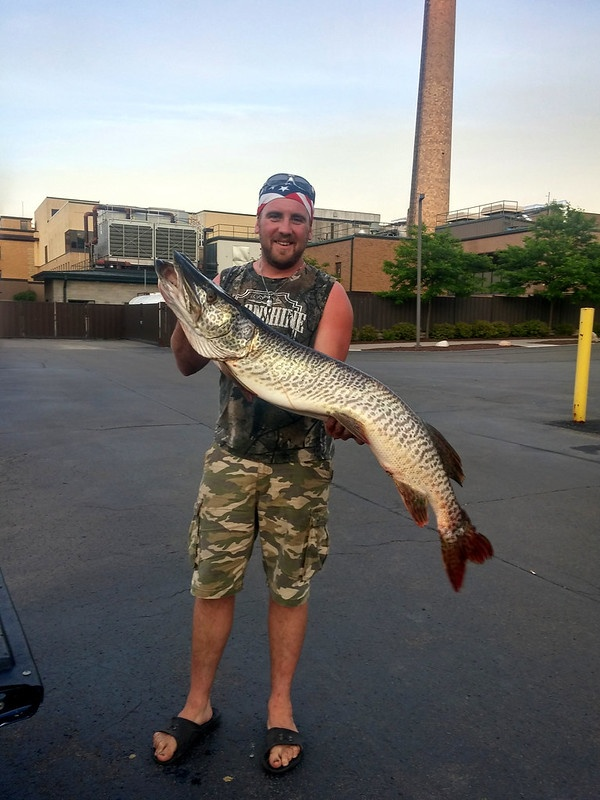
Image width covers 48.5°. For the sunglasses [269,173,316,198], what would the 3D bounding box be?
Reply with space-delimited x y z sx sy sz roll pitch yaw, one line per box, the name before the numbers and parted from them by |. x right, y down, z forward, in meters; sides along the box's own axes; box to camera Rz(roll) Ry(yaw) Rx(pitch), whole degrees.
sunglasses | -0.028 -0.688 2.121 0.154 0.071 0.188 1 8 -4

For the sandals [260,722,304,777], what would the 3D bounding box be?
sandals | -0.051 1.103 2.089 0.130 0.073 0.149 1 8 0

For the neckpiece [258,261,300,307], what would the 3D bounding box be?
neckpiece | -0.073 -0.373 2.184 0.117 0.130 0.054 3 -8 5
